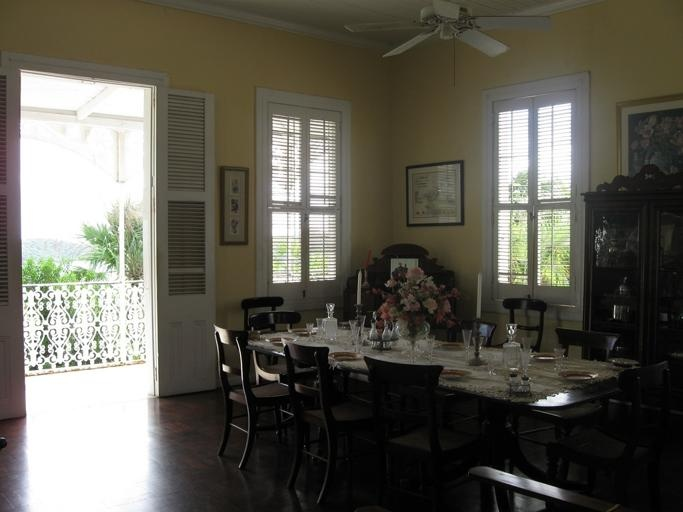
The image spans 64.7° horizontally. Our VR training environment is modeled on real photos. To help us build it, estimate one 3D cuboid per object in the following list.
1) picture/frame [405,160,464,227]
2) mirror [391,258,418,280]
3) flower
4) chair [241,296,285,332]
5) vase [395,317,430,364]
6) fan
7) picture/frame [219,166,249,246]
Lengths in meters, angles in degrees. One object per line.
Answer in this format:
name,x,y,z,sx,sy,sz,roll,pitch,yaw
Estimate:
picture/frame,1.192,-0.783,6.723,0.825,0.808,0.029,-3,-7,45
mirror,0.647,0.127,5.500,0.225,0.166,0.031,-1,-23,4
flower,0.560,0.316,4.185,0.650,0.585,0.651,7,-6,-28
chair,-0.926,0.657,6.052,0.404,0.581,0.363,2,-10,-17
vase,0.533,0.643,4.019,0.249,0.394,0.283,0,-5,-4
fan,0.901,-1.841,4.213,1.354,0.414,0.707,1,4,16
picture/frame,-1.194,-0.565,6.014,0.329,0.858,0.092,-2,4,-19
